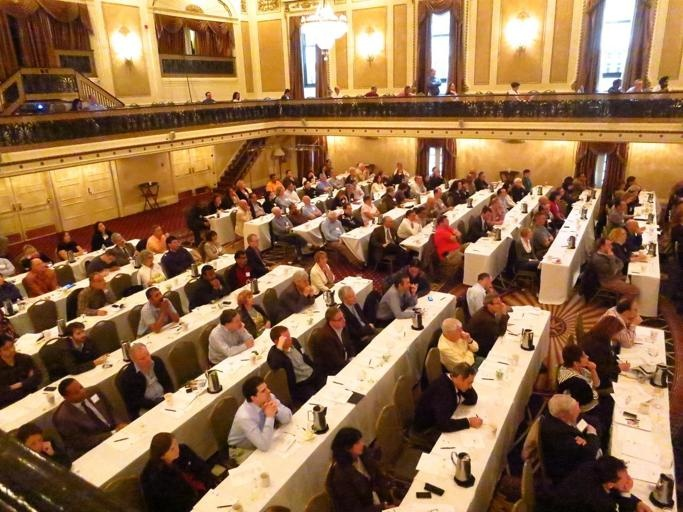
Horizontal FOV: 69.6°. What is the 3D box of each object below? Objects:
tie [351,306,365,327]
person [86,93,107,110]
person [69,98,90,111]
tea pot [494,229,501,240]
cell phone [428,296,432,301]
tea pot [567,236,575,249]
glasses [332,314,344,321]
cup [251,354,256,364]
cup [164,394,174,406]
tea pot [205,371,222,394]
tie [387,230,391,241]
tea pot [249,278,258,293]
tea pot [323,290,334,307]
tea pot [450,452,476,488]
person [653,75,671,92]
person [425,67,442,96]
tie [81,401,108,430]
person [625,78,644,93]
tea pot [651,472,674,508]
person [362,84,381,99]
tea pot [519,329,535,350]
[{"bbox_3d":[0.241,0.917,7.494,0.104,0.314,0.224,-28,-11,34],"label":"tie"},{"bbox_3d":[-7.066,-4.392,14.073,0.479,0.500,1.824,-14,19,-23],"label":"person"},{"bbox_3d":[-7.273,-4.203,13.636,0.485,0.319,0.964,-14,19,-24],"label":"person"},{"bbox_3d":[3.399,-0.466,10.718,0.219,0.253,0.202,-1,0,0],"label":"tea pot"},{"bbox_3d":[1.463,0.707,8.130,0.036,0.015,0.074,-8,30,6],"label":"cell phone"},{"bbox_3d":[4.721,-0.272,10.122,0.148,0.286,0.159,-4,20,1],"label":"tea pot"},{"bbox_3d":[-0.041,0.854,6.746,0.108,0.103,0.084,-41,14,34],"label":"glasses"},{"bbox_3d":[-1.169,1.378,6.549,0.087,0.118,0.084,1,11,0],"label":"cup"},{"bbox_3d":[-2.072,1.730,5.919,0.110,0.136,0.116,0,-1,0],"label":"cup"},{"bbox_3d":[-1.577,1.537,6.154,0.240,0.288,0.237,-2,9,0],"label":"tea pot"},{"bbox_3d":[1.066,-0.491,11.265,0.049,0.195,0.187,2,-4,24],"label":"tie"},{"bbox_3d":[-1.513,0.505,8.464,0.180,0.199,0.197,-3,13,1],"label":"tea pot"},{"bbox_3d":[-0.199,0.691,7.945,0.163,0.238,0.236,-1,1,-11],"label":"tea pot"},{"bbox_3d":[1.212,2.073,4.824,0.246,0.278,0.229,-5,17,2],"label":"tea pot"},{"bbox_3d":[9.446,-5.088,14.479,0.347,0.401,2.122,5,21,32],"label":"person"},{"bbox_3d":[3.227,-6.161,17.378,0.415,0.932,1.761,-3,18,11],"label":"person"},{"bbox_3d":[-2.914,1.889,5.809,0.105,0.318,0.240,-40,14,44],"label":"tie"},{"bbox_3d":[8.981,-5.230,15.056,0.372,0.511,0.881,10,42,28],"label":"person"},{"bbox_3d":[2.990,2.199,4.589,0.198,0.194,0.189,1,21,0],"label":"tea pot"},{"bbox_3d":[1.105,-6.176,18.499,0.528,0.425,1.778,-5,18,5],"label":"person"},{"bbox_3d":[2.535,1.155,6.786,0.217,0.261,0.248,-1,3,1],"label":"tea pot"}]
